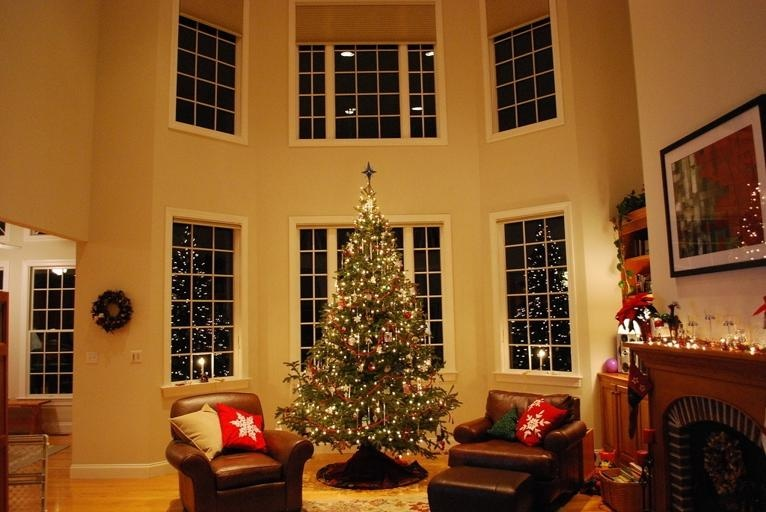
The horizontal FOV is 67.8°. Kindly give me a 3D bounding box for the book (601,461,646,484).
[{"bbox_3d":[2.706,2.426,6.374,0.284,0.133,0.383,-1,-3,-8],"label":"book"}]
